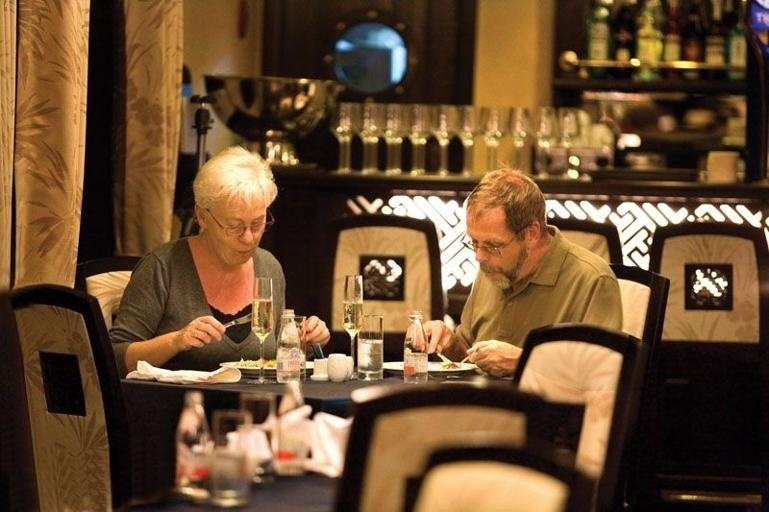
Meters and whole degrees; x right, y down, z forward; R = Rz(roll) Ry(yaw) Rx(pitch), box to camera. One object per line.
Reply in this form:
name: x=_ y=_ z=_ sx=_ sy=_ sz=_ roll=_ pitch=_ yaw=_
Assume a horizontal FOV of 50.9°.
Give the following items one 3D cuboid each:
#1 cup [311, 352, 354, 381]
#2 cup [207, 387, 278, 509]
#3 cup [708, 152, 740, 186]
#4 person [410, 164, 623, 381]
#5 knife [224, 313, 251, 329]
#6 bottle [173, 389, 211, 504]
cup: x=-0.154 y=0.352 z=2.570 sx=0.069 sy=0.066 sz=0.124 roll=4 pitch=-11 yaw=-30
cup: x=-0.328 y=0.446 z=1.871 sx=0.154 sy=0.249 sz=0.087 roll=1 pitch=2 yaw=-18
cup: x=1.875 y=-0.491 z=4.445 sx=0.162 sy=0.175 sz=0.179 roll=2 pitch=1 yaw=17
person: x=0.458 y=0.076 z=3.029 sx=0.644 sy=0.915 sz=0.872 roll=-3 pitch=5 yaw=-39
knife: x=-0.535 y=0.226 z=2.796 sx=0.031 sy=0.038 sz=0.222 roll=3 pitch=-12 yaw=-38
bottle: x=-0.466 y=0.457 z=1.961 sx=0.080 sy=0.204 sz=0.244 roll=1 pitch=1 yaw=-14
